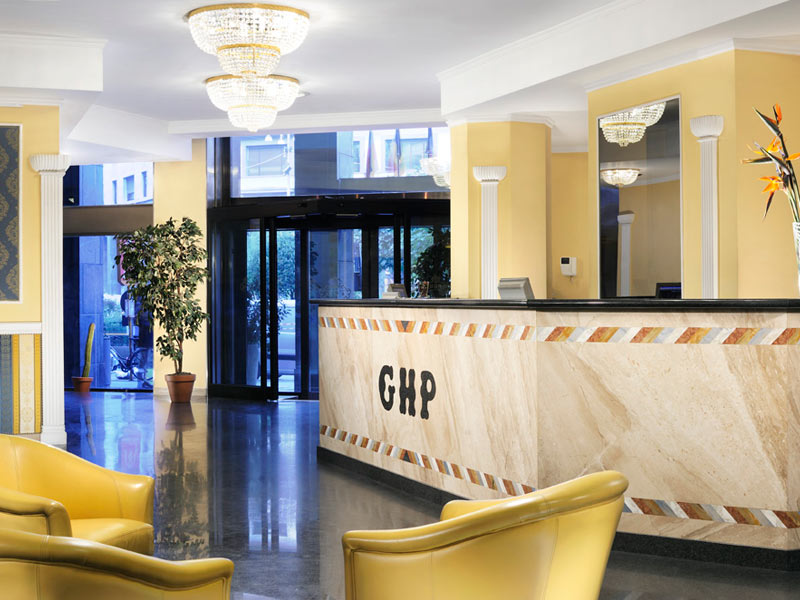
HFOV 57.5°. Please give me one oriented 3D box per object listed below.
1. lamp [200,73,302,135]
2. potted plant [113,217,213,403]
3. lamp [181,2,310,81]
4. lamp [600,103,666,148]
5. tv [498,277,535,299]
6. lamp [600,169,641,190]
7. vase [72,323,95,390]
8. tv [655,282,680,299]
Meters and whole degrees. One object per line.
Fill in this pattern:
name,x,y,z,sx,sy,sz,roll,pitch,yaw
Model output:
lamp,-1.600,-2.039,7.573,0.840,0.475,0.846,0,-1,14
potted plant,-3.330,0.153,10.445,1.080,2.606,0.978,0,1,-15
lamp,-1.330,-2.329,6.526,0.725,0.348,0.730,0,-2,14
lamp,2.355,-1.796,7.299,0.555,0.248,0.575,-1,10,32
tv,0.842,-0.068,5.348,0.207,0.157,0.176,0,4,34
lamp,2.229,-1.223,7.404,0.073,0.205,0.505,0,1,-26
vase,-5.142,0.949,11.903,0.331,1.087,0.612,0,1,-23
tv,2.506,-0.076,6.867,0.099,0.138,0.347,0,1,-13
